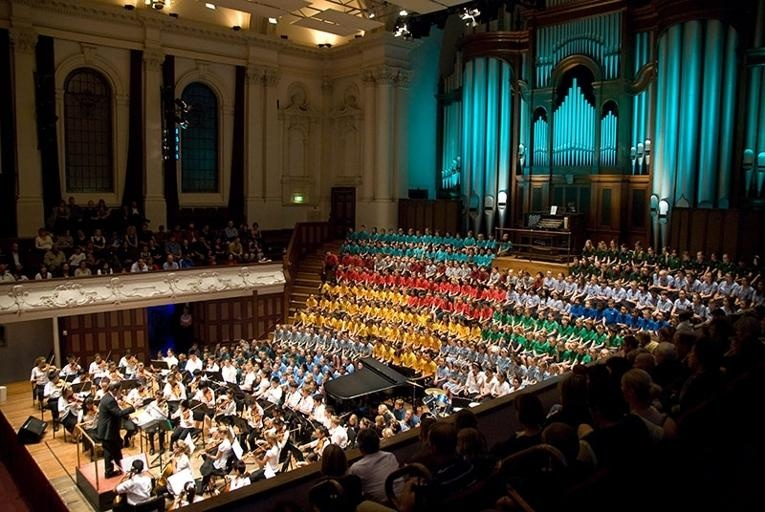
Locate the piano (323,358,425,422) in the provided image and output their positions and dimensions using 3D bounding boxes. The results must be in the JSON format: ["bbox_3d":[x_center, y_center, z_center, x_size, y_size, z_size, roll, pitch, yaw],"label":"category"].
[{"bbox_3d":[-0.301,3.124,12.968,1.783,0.615,1.289,-16,22,-37],"label":"piano"}]

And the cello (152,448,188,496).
[{"bbox_3d":[-4.595,4.709,11.838,0.598,1.097,0.399,18,-11,35],"label":"cello"}]

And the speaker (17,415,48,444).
[{"bbox_3d":[-7.978,4.061,12.529,0.516,0.553,0.635,-4,6,-13],"label":"speaker"}]
